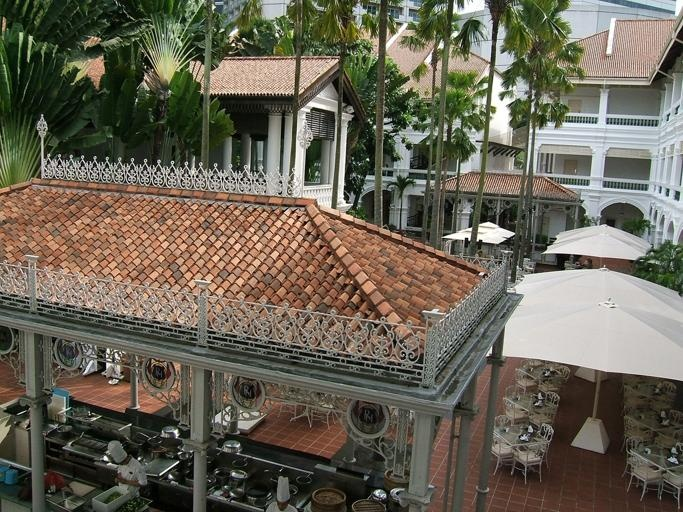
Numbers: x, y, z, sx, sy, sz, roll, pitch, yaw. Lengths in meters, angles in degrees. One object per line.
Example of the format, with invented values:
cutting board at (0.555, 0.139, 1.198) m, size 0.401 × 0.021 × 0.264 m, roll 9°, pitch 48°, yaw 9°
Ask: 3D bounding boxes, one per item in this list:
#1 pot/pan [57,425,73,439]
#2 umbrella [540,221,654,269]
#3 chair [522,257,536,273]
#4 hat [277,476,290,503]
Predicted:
pot/pan at (-5.536, 3.525, 12.911) m, size 0.322 × 0.135 × 0.443 m, roll 0°, pitch 11°, yaw -23°
umbrella at (8.586, -0.410, 21.025) m, size 2.966 × 1.102 × 2.946 m, roll 22°, pitch -14°, yaw -29°
chair at (9.280, 0.442, 31.916) m, size 0.567 × 0.945 × 0.545 m, roll 7°, pitch 11°, yaw 29°
hat at (-0.914, 3.661, 10.149) m, size 0.165 × 0.426 × 0.209 m, roll 3°, pitch 10°, yaw -7°
